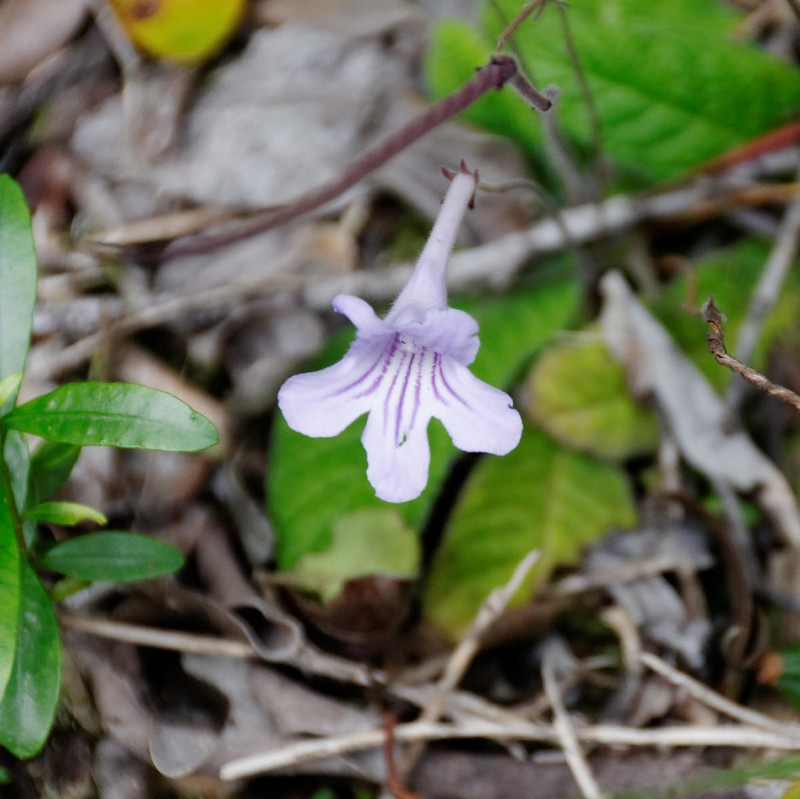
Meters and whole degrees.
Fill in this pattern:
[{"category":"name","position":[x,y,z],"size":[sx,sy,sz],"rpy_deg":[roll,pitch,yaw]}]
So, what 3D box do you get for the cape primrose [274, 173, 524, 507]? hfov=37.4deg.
[{"category":"cape primrose","position":[-0.018,-0.058,2.237],"size":[0.418,0.524,0.494],"rpy_deg":[-9,47,-2]}]
